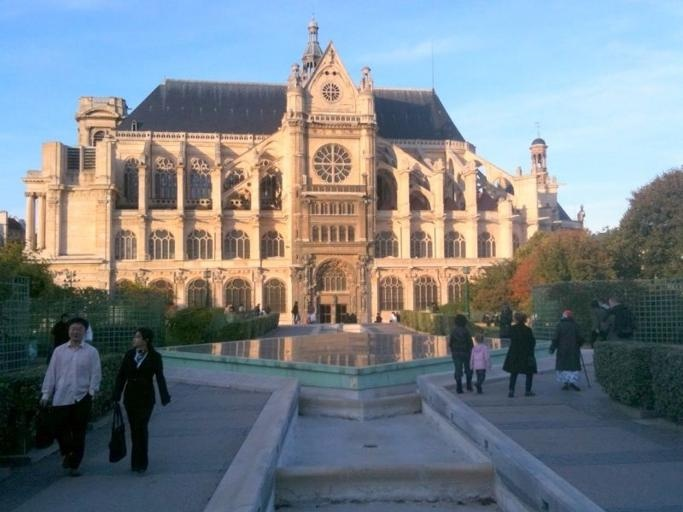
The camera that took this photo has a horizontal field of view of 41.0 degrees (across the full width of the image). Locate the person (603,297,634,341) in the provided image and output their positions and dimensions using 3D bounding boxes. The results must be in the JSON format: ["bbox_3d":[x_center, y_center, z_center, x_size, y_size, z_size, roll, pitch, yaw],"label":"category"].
[{"bbox_3d":[7.849,1.824,25.868,0.802,1.064,0.458,5,-14,-43],"label":"person"}]

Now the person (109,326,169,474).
[{"bbox_3d":[-3.614,2.548,16.392,0.840,2.495,0.787,-6,-6,39],"label":"person"}]

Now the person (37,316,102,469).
[{"bbox_3d":[-4.776,2.470,16.147,0.981,2.678,0.393,-1,-5,-18],"label":"person"}]

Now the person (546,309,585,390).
[{"bbox_3d":[5.213,2.195,21.253,0.710,1.836,0.628,-3,-5,14],"label":"person"}]

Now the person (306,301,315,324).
[{"bbox_3d":[-2.009,3.591,59.027,0.492,1.410,1.214,-2,-5,-2],"label":"person"}]

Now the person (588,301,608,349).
[{"bbox_3d":[6.836,1.770,24.268,0.442,1.192,2.051,-3,-5,15],"label":"person"}]
